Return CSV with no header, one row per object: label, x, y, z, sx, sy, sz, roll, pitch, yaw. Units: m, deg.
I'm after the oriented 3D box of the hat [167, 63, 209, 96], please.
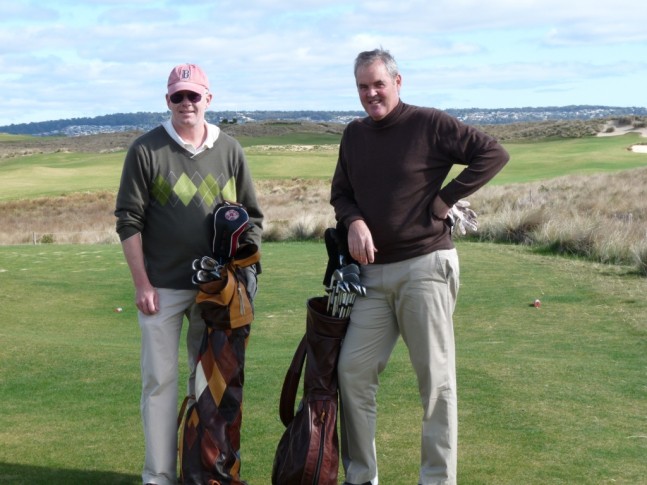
hat,-0.943,-1.135,4.218,0.270,0.218,0.167,-2,8,-7
